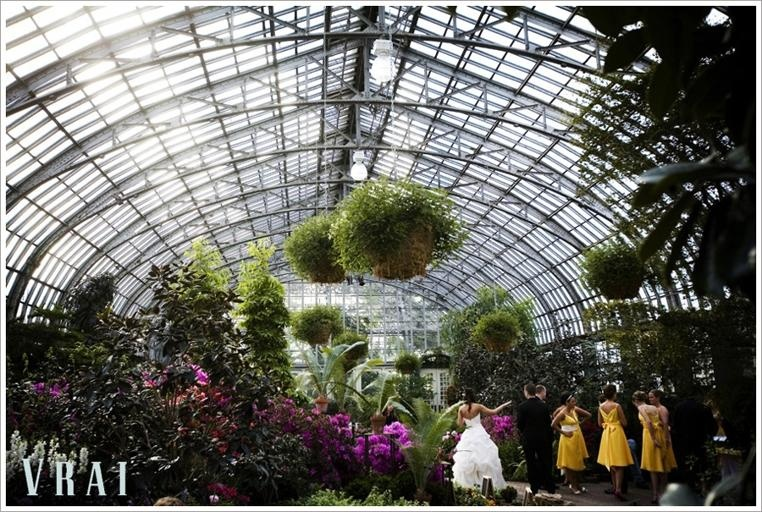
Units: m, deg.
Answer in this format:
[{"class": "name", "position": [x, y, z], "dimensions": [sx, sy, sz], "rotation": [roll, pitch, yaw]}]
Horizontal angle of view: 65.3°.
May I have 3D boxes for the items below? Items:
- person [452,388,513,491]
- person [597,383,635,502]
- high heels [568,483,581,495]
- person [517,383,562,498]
[{"class": "person", "position": [1.327, 2.549, 8.289], "dimensions": [0.760, 1.331, 1.248], "rotation": [-7, -18, 6]}, {"class": "person", "position": [3.222, 2.550, 8.280], "dimensions": [0.458, 1.517, 1.249], "rotation": [-12, -19, 18]}, {"class": "high heels", "position": [2.782, 3.337, 8.555], "dimensions": [0.076, 0.091, 0.220], "rotation": [-2, -18, -6]}, {"class": "person", "position": [2.113, 2.446, 8.045], "dimensions": [0.453, 1.446, 0.697], "rotation": [-10, -19, 13]}]
